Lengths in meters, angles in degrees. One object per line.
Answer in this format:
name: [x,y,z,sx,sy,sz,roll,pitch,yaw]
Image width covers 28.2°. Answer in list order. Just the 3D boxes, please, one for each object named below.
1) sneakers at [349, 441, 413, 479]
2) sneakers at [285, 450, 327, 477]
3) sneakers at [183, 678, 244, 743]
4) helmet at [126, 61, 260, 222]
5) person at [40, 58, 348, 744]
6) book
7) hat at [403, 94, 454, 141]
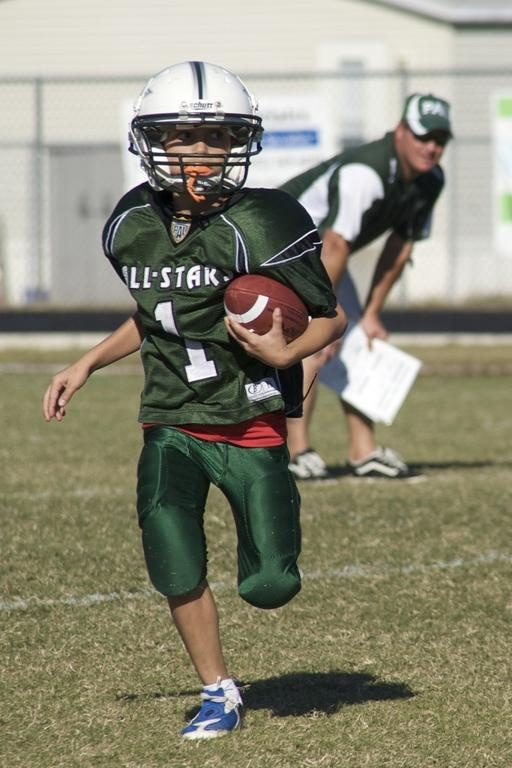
sneakers: [0.498,0.317,4.152,0.228,0.087,0.115,-1,3,5]
sneakers: [0.210,0.338,4.347,0.103,0.112,0.280,-2,-5,-9]
sneakers: [-0.080,0.621,1.950,0.062,0.063,0.162,0,8,21]
helmet: [-0.126,-0.549,2.187,0.279,0.246,0.321,4,19,0]
person: [-0.107,-0.008,2.151,0.466,1.350,0.569,-7,10,-39]
book: [0.477,-0.041,4.298,0.465,0.444,0.117,31,-24,17]
hat: [0.657,-1.059,3.995,0.189,0.204,0.251,1,7,7]
